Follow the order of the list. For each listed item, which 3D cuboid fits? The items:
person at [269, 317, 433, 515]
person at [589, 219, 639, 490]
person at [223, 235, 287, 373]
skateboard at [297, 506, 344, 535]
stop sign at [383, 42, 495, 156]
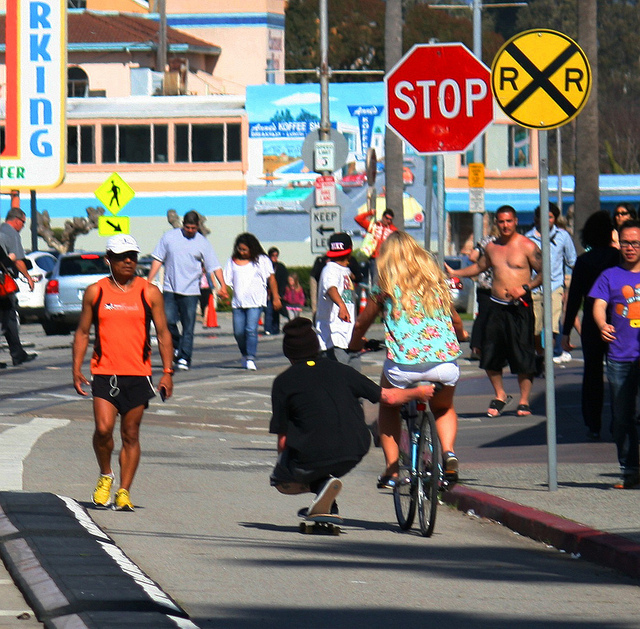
[{"bbox_3d":[0.113,0.597,10.376,0.831,1.138,0.350,-1,6,2],"label":"person"},{"bbox_3d":[2.121,0.420,11.500,0.325,1.602,0.278,0,6,9],"label":"person"},{"bbox_3d":[-0.796,-0.177,19.757,0.814,1.589,0.673,-1,-1,7],"label":"person"},{"bbox_3d":[0.012,1.342,10.562,0.285,0.166,0.314,-1,6,-2],"label":"skateboard"},{"bbox_3d":[0.942,-1.695,12.651,0.828,0.854,0.531,0,6,5],"label":"stop sign"}]
